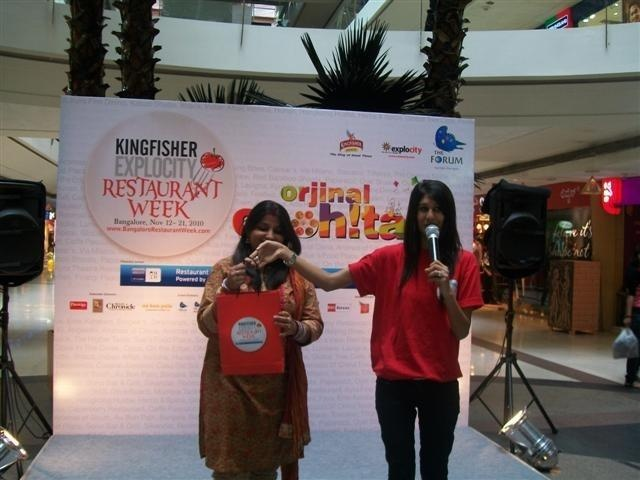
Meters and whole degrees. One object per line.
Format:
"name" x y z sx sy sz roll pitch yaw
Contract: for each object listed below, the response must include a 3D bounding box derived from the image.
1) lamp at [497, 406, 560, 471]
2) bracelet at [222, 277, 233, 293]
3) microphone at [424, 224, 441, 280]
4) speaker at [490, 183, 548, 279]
"lamp" 1.780 1.711 4.570 0.289 0.369 0.283 -31 -32 -18
"bracelet" -0.550 0.265 3.140 0.066 0.085 0.076 4 -6 -11
"microphone" 0.636 0.016 3.024 0.088 0.207 0.277 4 3 11
"speaker" 1.788 -0.079 4.862 0.568 0.592 0.336 4 3 9
